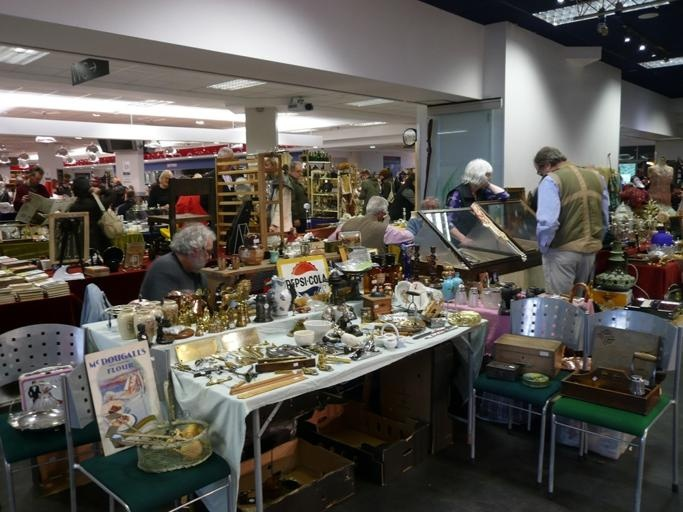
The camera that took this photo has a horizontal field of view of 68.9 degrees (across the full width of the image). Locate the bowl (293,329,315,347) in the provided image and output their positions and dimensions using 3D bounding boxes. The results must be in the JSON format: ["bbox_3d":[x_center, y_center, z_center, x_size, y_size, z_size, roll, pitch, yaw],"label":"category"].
[{"bbox_3d":[-0.248,0.537,3.327,0.108,0.068,0.107,-2,7,0],"label":"bowl"}]

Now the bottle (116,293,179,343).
[{"bbox_3d":[-1.247,0.396,3.213,0.356,0.150,0.253,6,10,30],"label":"bottle"}]

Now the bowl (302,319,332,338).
[{"bbox_3d":[-0.165,0.485,3.446,0.151,0.078,0.128,-1,3,-4],"label":"bowl"}]

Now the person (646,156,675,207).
[{"bbox_3d":[5.369,-1.180,8.468,0.381,0.858,0.288,-12,21,-2],"label":"person"}]

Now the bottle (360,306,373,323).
[{"bbox_3d":[0.184,0.436,3.731,0.113,0.102,0.105,0,2,-3],"label":"bottle"}]

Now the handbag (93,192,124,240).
[{"bbox_3d":[-2.881,-0.476,6.234,0.279,0.530,0.428,-7,16,-24],"label":"handbag"}]

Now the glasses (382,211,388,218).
[{"bbox_3d":[0.465,-0.453,5.423,0.054,0.052,0.058,8,19,29],"label":"glasses"}]

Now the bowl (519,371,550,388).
[{"bbox_3d":[1.341,0.850,3.483,0.172,0.055,0.188,0,14,0],"label":"bowl"}]

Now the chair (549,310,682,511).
[{"bbox_3d":[1.854,0.996,3.305,0.755,1.125,0.902,9,17,32],"label":"chair"}]
